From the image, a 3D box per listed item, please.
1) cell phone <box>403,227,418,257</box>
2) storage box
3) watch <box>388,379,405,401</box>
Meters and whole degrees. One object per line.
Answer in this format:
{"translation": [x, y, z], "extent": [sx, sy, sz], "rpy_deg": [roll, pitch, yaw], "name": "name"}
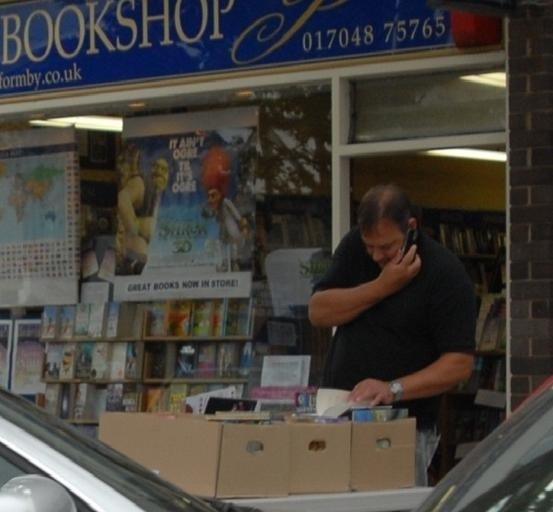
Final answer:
{"translation": [0.601, -0.061, 4.150], "extent": [0.055, 0.116, 0.026], "rpy_deg": [10, -12, -40], "name": "cell phone"}
{"translation": [-0.049, 0.728, 3.430], "extent": [1.165, 0.318, 0.396], "rpy_deg": [-1, -3, -11], "name": "storage box"}
{"translation": [0.499, 0.562, 3.934], "extent": [0.064, 0.074, 0.071], "rpy_deg": [-28, 21, 3], "name": "watch"}
